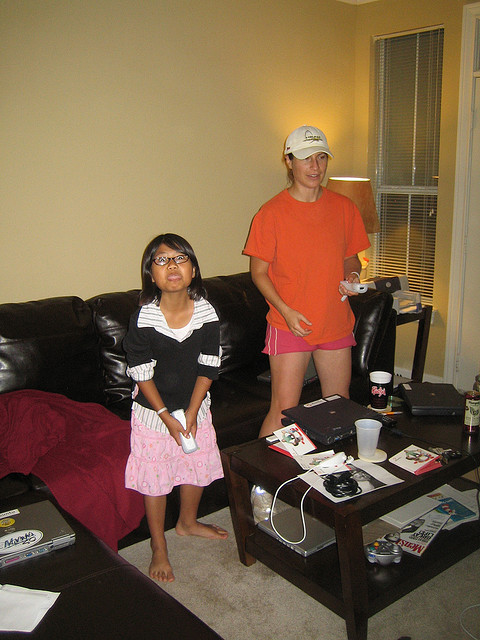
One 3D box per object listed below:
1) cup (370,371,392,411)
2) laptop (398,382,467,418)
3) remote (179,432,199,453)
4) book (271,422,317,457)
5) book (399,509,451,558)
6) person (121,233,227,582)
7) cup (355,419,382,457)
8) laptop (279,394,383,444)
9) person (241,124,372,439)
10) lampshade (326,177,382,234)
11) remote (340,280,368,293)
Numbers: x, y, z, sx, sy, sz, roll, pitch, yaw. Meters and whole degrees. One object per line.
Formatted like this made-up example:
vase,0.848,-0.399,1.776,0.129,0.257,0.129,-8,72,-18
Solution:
cup,0.537,0.255,1.875,0.067,0.142,0.158,0,7,16
laptop,0.720,0.299,1.824,0.120,0.034,0.171,2,15,4
remote,-0.152,0.381,1.552,0.040,0.016,0.066,-13,61,-23
book,0.174,0.375,1.547,0.085,0.052,0.142,-4,7,-20
book,0.601,0.690,1.622,0.100,0.010,0.257,8,18,42
person,-0.219,0.284,1.670,0.360,1.125,0.298,-3,6,-13
cup,0.372,0.341,1.432,0.100,0.100,0.099,1,4,0
laptop,0.282,0.299,1.640,0.178,0.039,0.163,-13,19,-35
person,0.260,-0.130,1.887,0.484,1.169,0.377,-1,6,9
lampshade,0.787,-0.815,3.448,0.375,0.357,0.361,-2,22,14
remote,0.410,-0.119,1.744,0.044,0.028,0.069,1,7,-27
